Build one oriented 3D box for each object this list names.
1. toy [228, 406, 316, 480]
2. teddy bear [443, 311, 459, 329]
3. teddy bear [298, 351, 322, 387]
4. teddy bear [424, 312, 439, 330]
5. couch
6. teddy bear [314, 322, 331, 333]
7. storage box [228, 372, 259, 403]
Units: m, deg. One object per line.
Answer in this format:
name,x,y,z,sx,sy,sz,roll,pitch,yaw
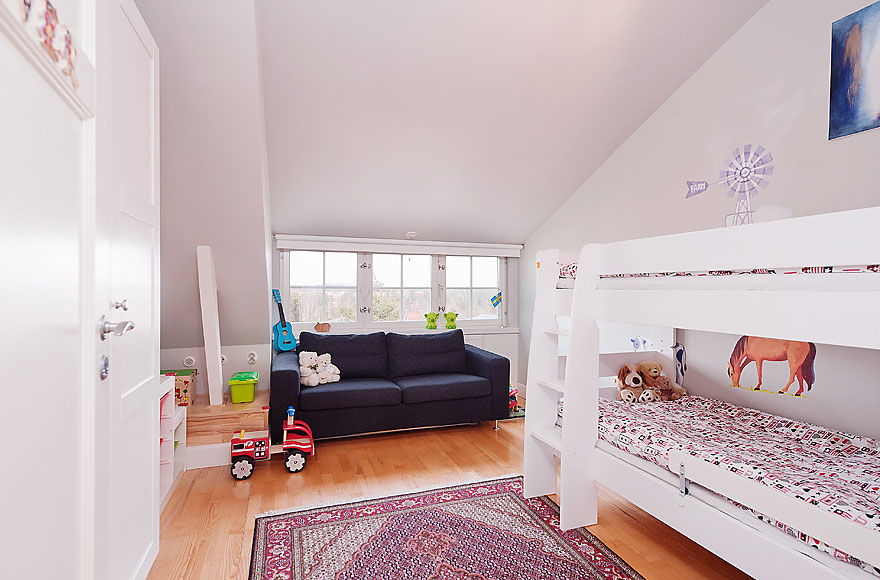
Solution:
toy,-1.275,1.130,3.983,0.629,0.469,0.430,-4,13,-19
teddy bear,0.102,0.348,5.896,0.198,0.189,0.103,1,-6,-7
teddy bear,-1.157,0.696,4.595,0.172,0.230,0.275,-3,12,-14
teddy bear,-0.109,0.353,5.818,0.200,0.217,0.117,2,-4,-9
couch,-0.475,0.891,4.826,2.130,0.785,0.878,-4,12,-19
teddy bear,-1.208,0.389,5.387,0.183,0.123,0.145,-4,12,-18
storage box,-1.657,0.818,4.387,0.212,0.165,0.268,-1,4,-19
